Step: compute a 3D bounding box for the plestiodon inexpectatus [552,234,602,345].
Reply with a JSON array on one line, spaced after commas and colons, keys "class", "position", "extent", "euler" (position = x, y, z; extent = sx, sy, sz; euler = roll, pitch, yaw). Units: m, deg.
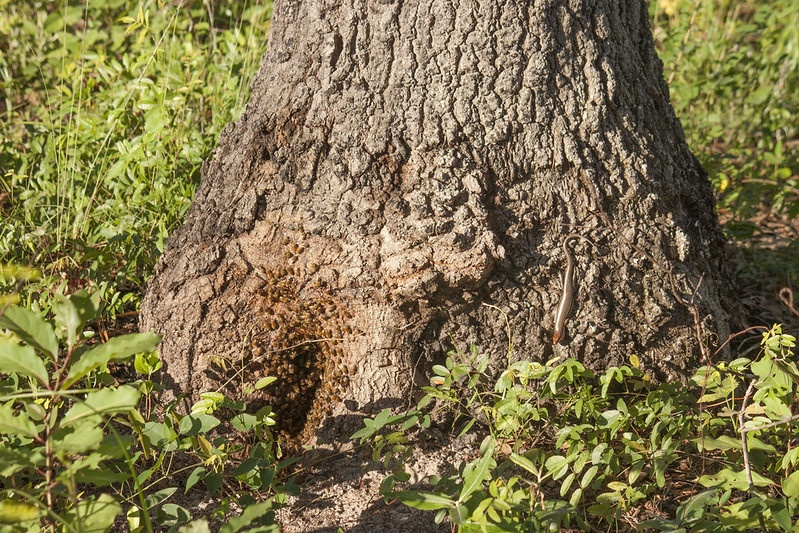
[{"class": "plestiodon inexpectatus", "position": [0.927, 0.110, 5.038], "extent": [0.267, 0.568, 0.100], "euler": [-9, 13, -34]}]
